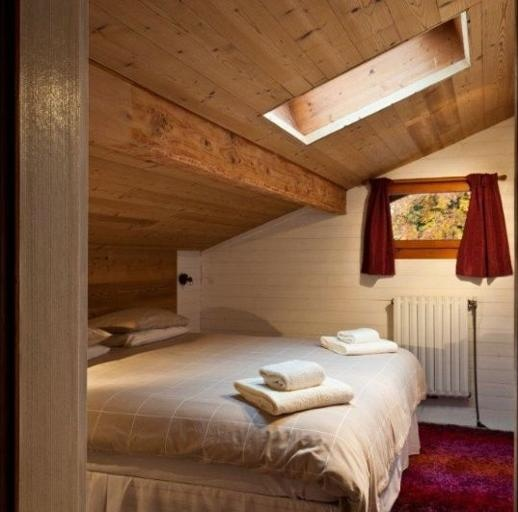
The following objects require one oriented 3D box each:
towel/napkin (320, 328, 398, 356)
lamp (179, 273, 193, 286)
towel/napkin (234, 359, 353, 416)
[{"bbox_3d":[0.622,0.576,3.117,0.279,0.076,0.244,0,-3,-27],"label":"towel/napkin"},{"bbox_3d":[-0.714,0.228,4.545,0.080,0.110,0.207,2,1,13],"label":"lamp"},{"bbox_3d":[0.116,0.544,1.953,0.278,0.076,0.263,-2,1,-38],"label":"towel/napkin"}]
